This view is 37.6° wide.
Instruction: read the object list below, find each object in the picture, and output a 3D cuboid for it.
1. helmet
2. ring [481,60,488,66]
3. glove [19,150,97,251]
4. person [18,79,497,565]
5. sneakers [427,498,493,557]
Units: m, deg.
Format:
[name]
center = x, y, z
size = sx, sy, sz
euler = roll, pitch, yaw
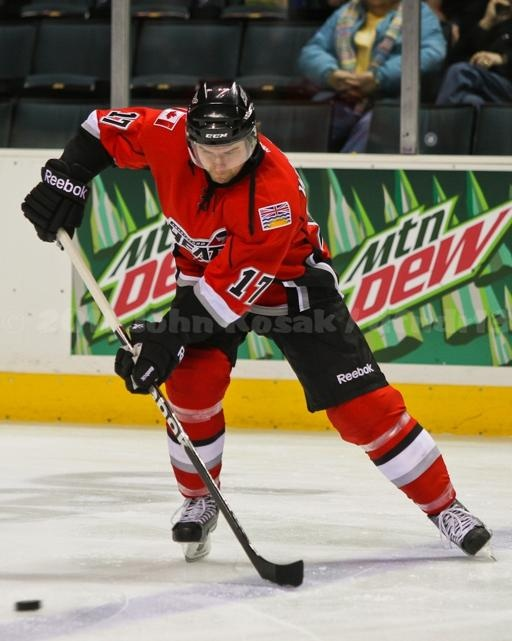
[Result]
[helmet]
center = -0.077, -0.437, 1.616
size = 0.176, 0.159, 0.191
euler = -3, 46, -2
[ring]
center = 1.068, -1.204, 3.516
size = 0.025, 0.013, 0.031
euler = -2, -8, 20
[glove]
center = -0.486, -0.293, 1.838
size = 0.181, 0.204, 0.104
euler = 24, 1, -12
[person]
center = 0.024, -0.001, 1.783
size = 1.267, 1.062, 0.666
euler = 11, 22, 25
[sneakers]
center = 0.474, 0.475, 1.736
size = 0.060, 0.063, 0.161
euler = -45, 21, -2
